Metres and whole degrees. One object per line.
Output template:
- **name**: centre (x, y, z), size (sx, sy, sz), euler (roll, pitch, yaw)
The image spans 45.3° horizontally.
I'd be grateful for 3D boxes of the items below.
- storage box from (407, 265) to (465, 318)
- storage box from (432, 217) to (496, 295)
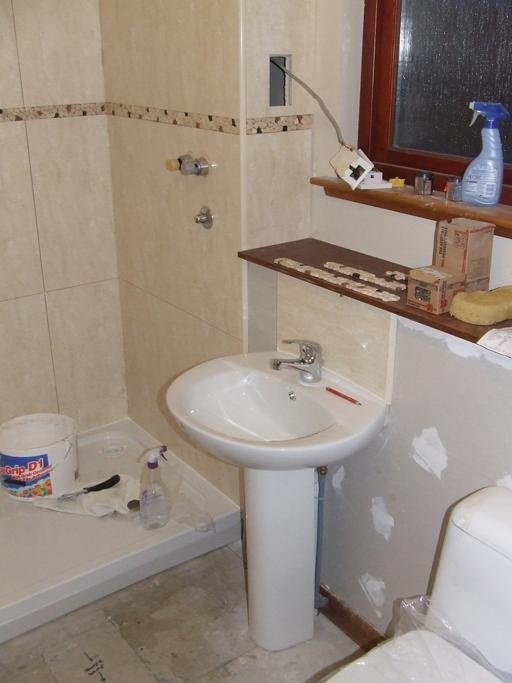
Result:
- **storage box**: centre (0.328, -0.103, 1.176), size (0.093, 0.085, 0.095), euler (-10, 27, -26)
- **storage box**: centre (0.409, -0.173, 1.214), size (0.077, 0.140, 0.082), euler (-12, 26, -21)
